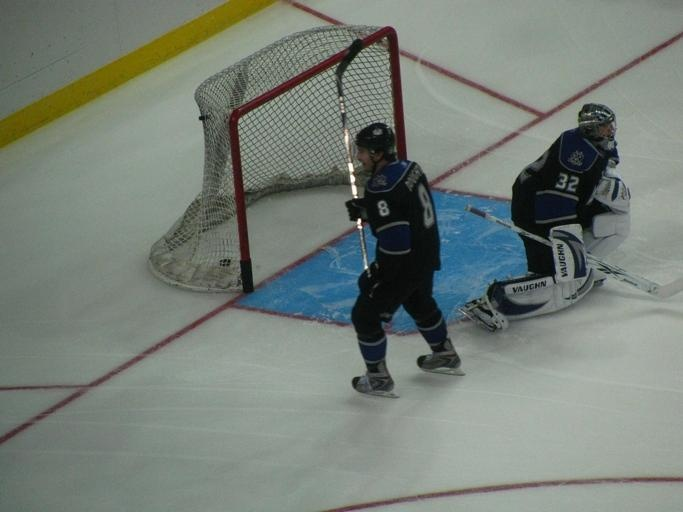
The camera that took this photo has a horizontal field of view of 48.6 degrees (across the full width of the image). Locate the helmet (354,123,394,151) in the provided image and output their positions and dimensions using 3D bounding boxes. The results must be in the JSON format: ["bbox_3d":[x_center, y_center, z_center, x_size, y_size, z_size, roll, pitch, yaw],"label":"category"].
[{"bbox_3d":[0.182,-0.648,4.145,0.207,0.131,0.136,5,29,4],"label":"helmet"}]

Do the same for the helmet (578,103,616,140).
[{"bbox_3d":[1.553,-0.815,4.604,0.206,0.224,0.198,-7,22,16],"label":"helmet"}]

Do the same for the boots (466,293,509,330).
[{"bbox_3d":[0.905,0.374,4.780,0.261,0.107,0.202,31,5,40],"label":"boots"}]

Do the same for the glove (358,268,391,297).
[{"bbox_3d":[0.165,0.144,4.155,0.133,0.057,0.156,-11,37,15],"label":"glove"}]

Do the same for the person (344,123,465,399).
[{"bbox_3d":[0.236,0.037,4.223,0.704,1.502,0.418,-17,22,-3],"label":"person"}]
